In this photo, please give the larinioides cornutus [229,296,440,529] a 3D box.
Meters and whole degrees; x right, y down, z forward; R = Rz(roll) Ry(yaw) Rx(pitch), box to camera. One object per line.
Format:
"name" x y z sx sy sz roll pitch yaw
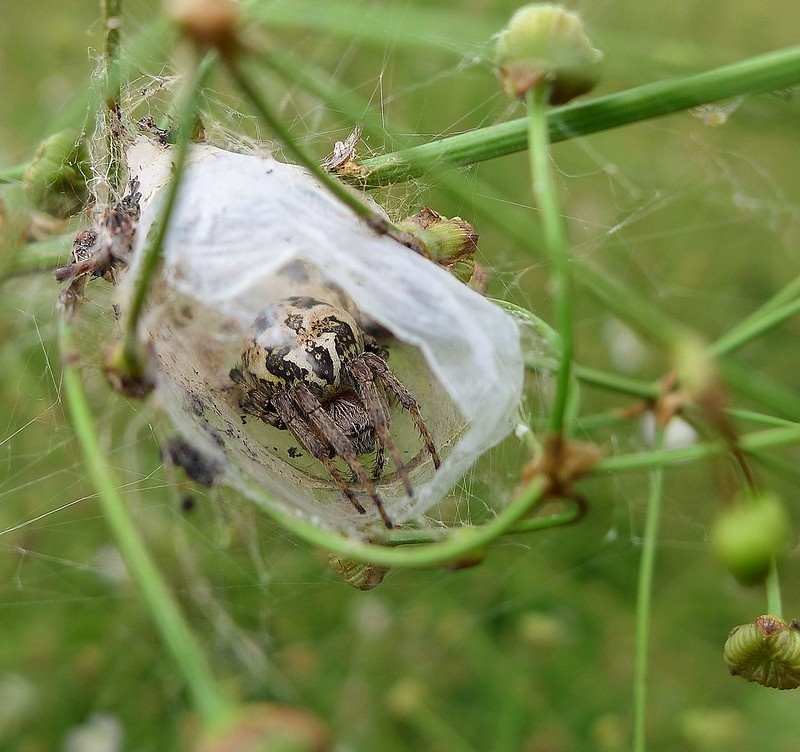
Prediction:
"larinioides cornutus" -0.140 0.039 1.643 0.304 0.160 0.510 -22 57 -20
